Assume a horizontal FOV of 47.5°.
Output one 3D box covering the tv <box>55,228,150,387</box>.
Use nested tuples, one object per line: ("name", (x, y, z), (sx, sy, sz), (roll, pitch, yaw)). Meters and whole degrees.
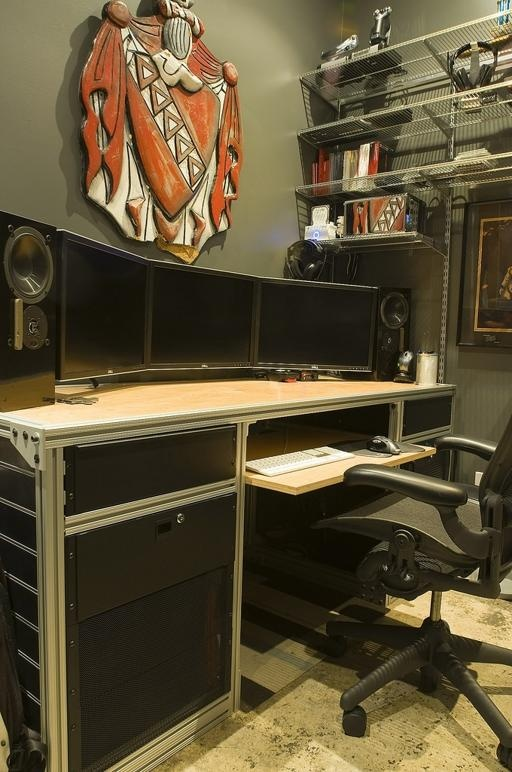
("tv", (-0.438, -0.215, 1.696), (0.044, 0.382, 0.451), (4, 5, 19))

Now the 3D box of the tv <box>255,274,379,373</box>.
("tv", (0.278, -0.251, 2.528), (0.624, 0.379, 0.085), (-3, 5, -35))

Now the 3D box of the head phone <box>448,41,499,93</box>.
("head phone", (0.898, -1.342, 2.421), (0.162, 0.070, 0.216), (-2, -26, 18))

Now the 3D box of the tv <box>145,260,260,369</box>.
("tv", (-0.196, -0.243, 2.188), (0.493, 0.379, 0.049), (0, 6, -40))

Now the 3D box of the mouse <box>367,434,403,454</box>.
("mouse", (0.412, 0.183, 1.876), (0.039, 0.045, 0.110), (-2, 12, -34))
